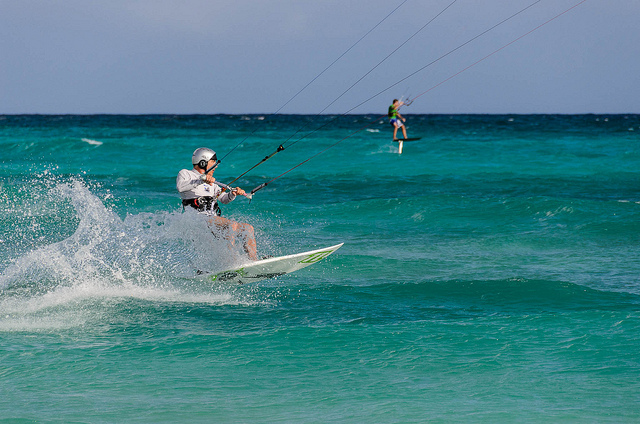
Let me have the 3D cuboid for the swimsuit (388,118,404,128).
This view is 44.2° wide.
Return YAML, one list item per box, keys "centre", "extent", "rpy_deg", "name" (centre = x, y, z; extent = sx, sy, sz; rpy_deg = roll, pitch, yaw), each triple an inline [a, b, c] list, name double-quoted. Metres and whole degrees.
- centre: [2.378, -2.795, 24.651]
  extent: [0.365, 0.283, 0.174]
  rpy_deg: [5, 5, 4]
  name: "swimsuit"

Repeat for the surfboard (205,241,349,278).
- centre: [-1.067, 1.210, 19.350]
  extent: [3.626, 0.335, 0.603]
  rpy_deg: [-8, -21, 13]
  name: "surfboard"

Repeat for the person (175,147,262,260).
- centre: [-2.367, -0.155, 17.804]
  extent: [1.610, 2.582, 0.791]
  rpy_deg: [-3, 16, -6]
  name: "person"
